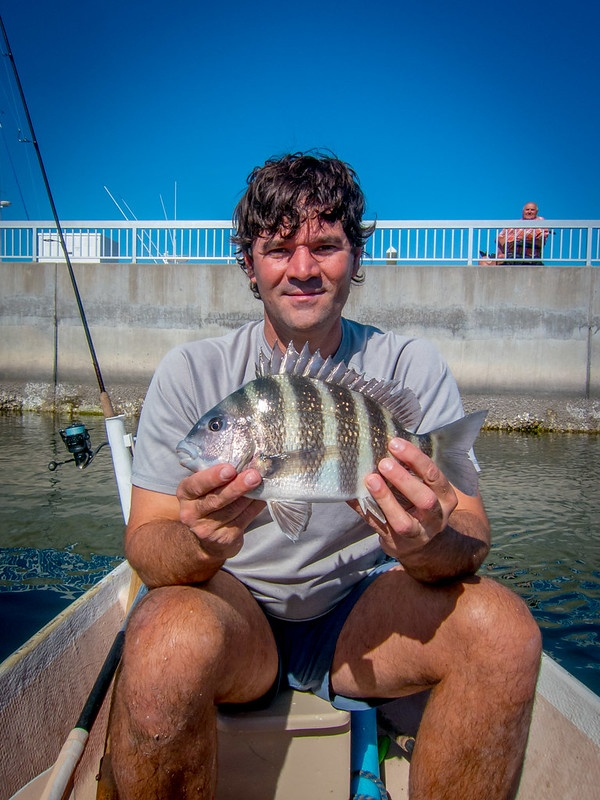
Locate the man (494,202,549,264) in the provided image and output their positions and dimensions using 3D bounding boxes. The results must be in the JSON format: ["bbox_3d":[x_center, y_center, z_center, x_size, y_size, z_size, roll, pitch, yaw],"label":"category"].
[{"bbox_3d":[4.058,-3.007,12.380,0.710,1.208,0.955,11,5,-34],"label":"man"}]

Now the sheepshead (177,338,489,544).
[{"bbox_3d":[0.096,0.143,1.892,0.832,0.427,0.271,-3,7,-16],"label":"sheepshead"}]
